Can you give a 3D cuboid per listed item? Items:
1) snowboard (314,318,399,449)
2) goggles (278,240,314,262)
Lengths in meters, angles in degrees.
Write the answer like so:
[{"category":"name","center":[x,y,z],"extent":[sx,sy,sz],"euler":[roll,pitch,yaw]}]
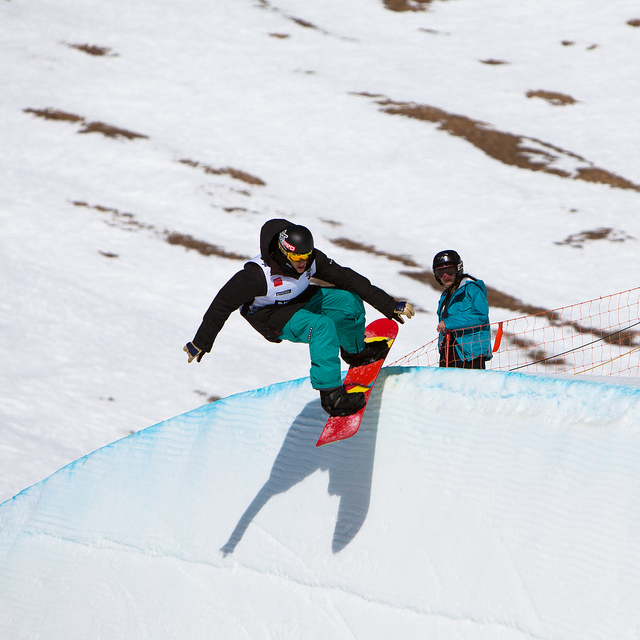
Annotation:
[{"category":"snowboard","center":[0.401,0.695,11.461],"extent":[0.554,0.275,1.869],"euler":[14,55,27]},{"category":"goggles","center":[-0.254,-0.708,11.196],"extent":[0.213,0.053,0.258],"euler":[-12,30,-40]}]
